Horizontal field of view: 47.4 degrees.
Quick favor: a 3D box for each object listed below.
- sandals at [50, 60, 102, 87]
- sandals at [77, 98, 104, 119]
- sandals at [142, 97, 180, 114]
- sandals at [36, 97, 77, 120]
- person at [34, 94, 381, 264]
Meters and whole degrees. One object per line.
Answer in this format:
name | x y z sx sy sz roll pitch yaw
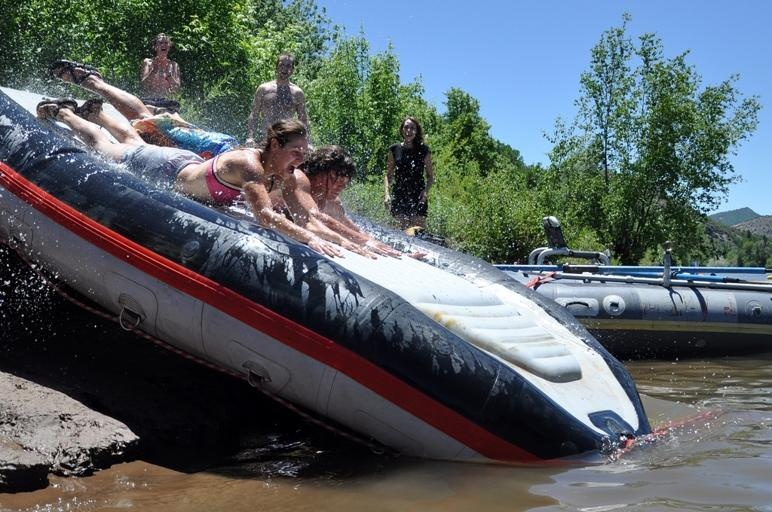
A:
sandals | -3.134 -1.854 8.850 0.574 0.194 0.218 10 -6 -20
sandals | -2.791 -1.396 8.344 0.309 0.109 0.131 -38 21 -25
sandals | -2.396 -1.623 9.479 0.309 0.114 0.229 4 7 -24
sandals | -3.011 -1.348 8.072 0.322 0.120 0.191 -2 9 -37
person | -1.648 -0.897 7.755 3.269 0.931 0.747 21 8 13
